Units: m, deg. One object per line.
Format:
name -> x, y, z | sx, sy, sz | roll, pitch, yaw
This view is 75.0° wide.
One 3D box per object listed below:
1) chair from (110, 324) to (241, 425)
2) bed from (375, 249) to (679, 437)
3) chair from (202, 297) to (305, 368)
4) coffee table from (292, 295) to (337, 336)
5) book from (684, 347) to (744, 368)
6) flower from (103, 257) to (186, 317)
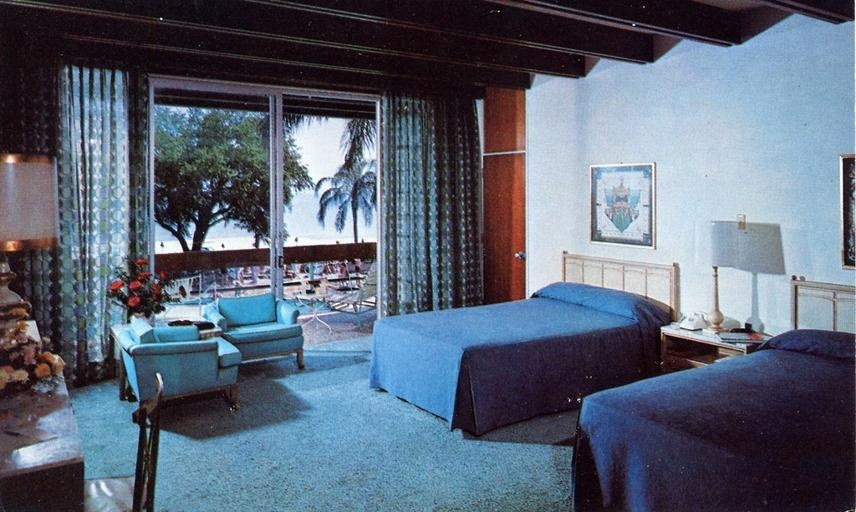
chair -> -2.908, 1.084, 6.390 | 1.226, 0.999, 1.197 | -1, 5, -29
bed -> 1.261, 0.978, 6.661 | 2.990, 1.445, 1.898 | -4, 7, -30
chair -> -2.368, 1.094, 7.615 | 1.125, 0.880, 1.054 | 0, 2, -33
coffee table -> -1.894, 0.948, 9.451 | 0.539, 0.635, 0.942 | -2, 5, -31
book -> 3.218, 1.154, 6.383 | 0.355, 0.088, 0.383 | -6, 6, -36
flower -> -3.475, 0.368, 6.882 | 0.765, 0.755, 0.761 | 8, 4, 5
